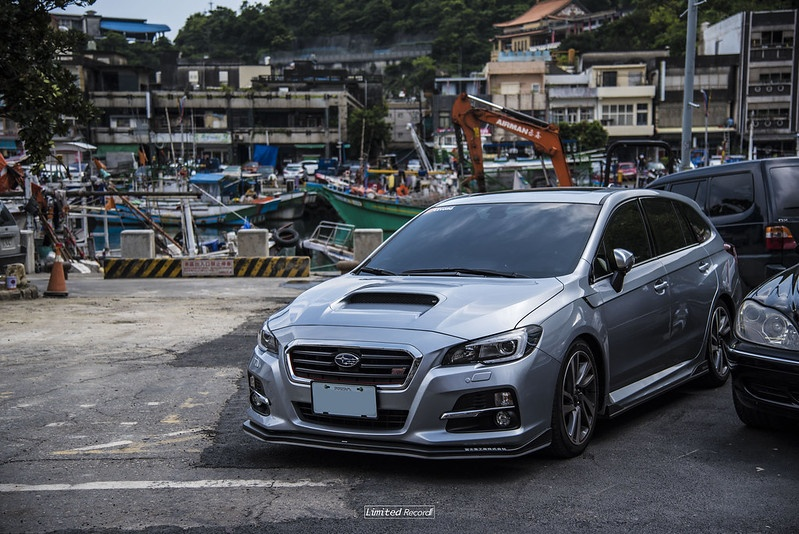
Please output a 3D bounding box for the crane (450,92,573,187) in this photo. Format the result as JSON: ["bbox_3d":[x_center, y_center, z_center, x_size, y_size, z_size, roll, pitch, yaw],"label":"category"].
[{"bbox_3d":[3.231,-3.651,26.443,3.190,2.968,3.050,0,8,3],"label":"crane"}]

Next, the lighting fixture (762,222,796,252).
[{"bbox_3d":[5.326,-0.387,12.396,0.507,0.496,0.297,-1,5,16],"label":"lighting fixture"}]

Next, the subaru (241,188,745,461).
[{"bbox_3d":[1.516,0.375,10.121,3.361,2.510,6.439,-2,2,37],"label":"subaru"}]

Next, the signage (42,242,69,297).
[{"bbox_3d":[-6.934,0.088,17.691,0.691,1.068,0.736,8,-6,-26],"label":"signage"}]

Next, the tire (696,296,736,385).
[{"bbox_3d":[3.521,0.857,9.982,0.301,1.016,0.972,-4,14,39],"label":"tire"}]
